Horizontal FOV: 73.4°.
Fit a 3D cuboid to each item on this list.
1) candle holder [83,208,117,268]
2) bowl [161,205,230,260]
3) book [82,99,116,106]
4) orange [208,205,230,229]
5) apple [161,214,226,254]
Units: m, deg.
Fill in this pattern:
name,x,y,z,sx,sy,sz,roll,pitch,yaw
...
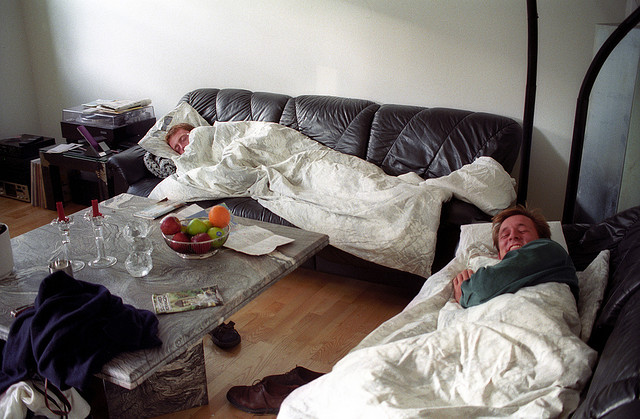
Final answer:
name,x,y,z,sx,sy,sz,roll,pitch,yaw
candle holder,-1.192,0.154,2.315,0.154,0.275,0.151,-7,12,-24
bowl,-0.669,0.128,2.333,0.303,0.217,0.324,0,17,0
book,-2.306,-1.123,4.495,0.224,0.036,0.247,13,28,30
orange,-0.557,0.040,2.428,0.118,0.114,0.116,-2,6,10
apple,-0.689,0.141,2.320,0.234,0.119,0.245,2,14,-3
